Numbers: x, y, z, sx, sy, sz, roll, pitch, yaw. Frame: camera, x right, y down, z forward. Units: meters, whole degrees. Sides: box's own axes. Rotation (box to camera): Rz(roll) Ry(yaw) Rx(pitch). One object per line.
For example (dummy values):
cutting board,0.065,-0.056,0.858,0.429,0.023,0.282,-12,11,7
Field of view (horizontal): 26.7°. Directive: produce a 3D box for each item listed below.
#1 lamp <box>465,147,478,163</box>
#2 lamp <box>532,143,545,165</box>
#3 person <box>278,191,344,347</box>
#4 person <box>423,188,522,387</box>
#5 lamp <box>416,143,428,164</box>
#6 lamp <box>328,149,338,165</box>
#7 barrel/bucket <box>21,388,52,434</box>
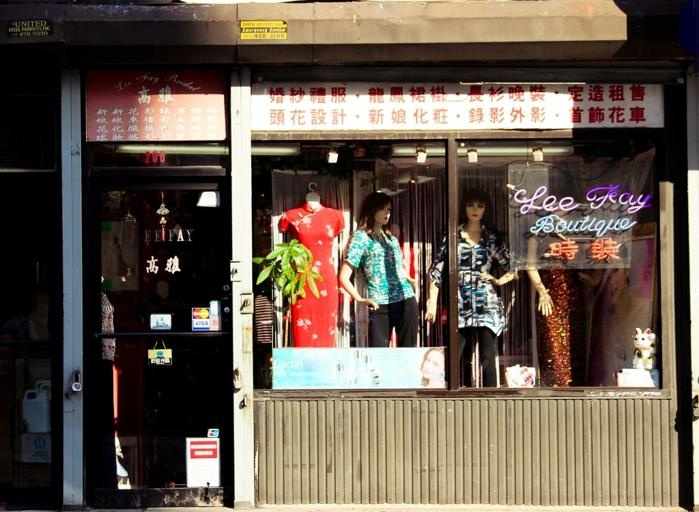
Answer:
lamp,1.138,-0.931,13.587,0.109,0.133,0.071,-1,-9,3
lamp,1.752,-0.944,13.585,0.183,0.214,0.120,0,-1,0
person,-0.350,0.079,13.743,0.600,1.486,0.182,0,-9,-2
person,1.175,0.489,13.802,0.837,2.200,0.566,1,19,5
lamp,0.662,-0.934,13.605,0.126,0.136,0.230,1,6,1
lamp,-0.158,-0.931,13.690,0.105,0.111,0.117,0,-9,-5
barrel/bucket,-2.952,1.417,13.685,0.344,0.414,0.343,-3,-13,-1
